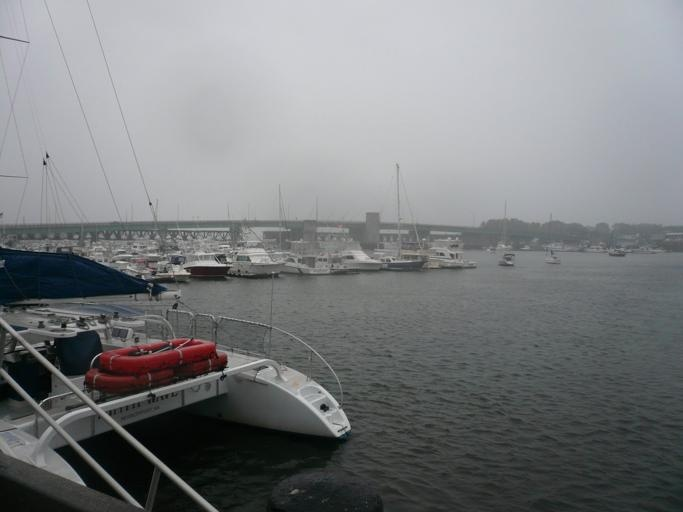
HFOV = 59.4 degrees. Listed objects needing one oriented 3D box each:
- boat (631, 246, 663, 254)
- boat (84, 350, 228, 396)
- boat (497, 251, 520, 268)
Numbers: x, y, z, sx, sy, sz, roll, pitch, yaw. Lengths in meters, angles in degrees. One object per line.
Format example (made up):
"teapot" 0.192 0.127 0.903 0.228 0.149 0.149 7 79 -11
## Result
"boat" 91.576 -1.647 178.771 6.528 2.608 6.211 3 9 6
"boat" -4.017 2.436 12.570 1.341 0.432 1.706 0 1 45
"boat" 32.721 0.634 117.370 2.288 2.993 7.882 3 9 6
